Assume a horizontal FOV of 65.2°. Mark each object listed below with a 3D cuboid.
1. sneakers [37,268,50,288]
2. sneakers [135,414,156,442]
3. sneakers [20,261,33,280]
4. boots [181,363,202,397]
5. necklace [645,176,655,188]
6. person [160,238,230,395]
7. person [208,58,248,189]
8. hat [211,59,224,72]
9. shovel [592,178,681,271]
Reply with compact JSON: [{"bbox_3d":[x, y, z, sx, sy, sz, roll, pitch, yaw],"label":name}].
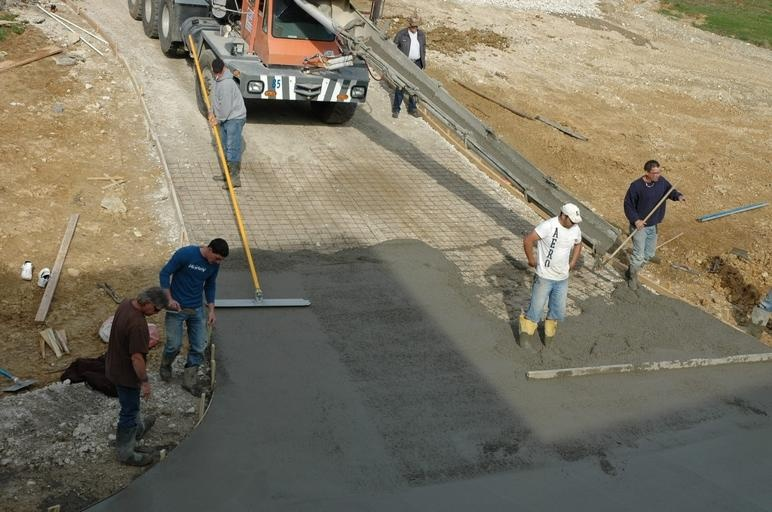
[{"bbox_3d":[-4.648,0.293,8.219,0.139,0.111,0.281,17,53,-28],"label":"sneakers"},{"bbox_3d":[-2.589,1.868,6.604,0.106,0.177,0.263,24,50,3],"label":"sneakers"},{"bbox_3d":[-4.902,0.209,8.265,0.121,0.122,0.329,1,27,-41],"label":"sneakers"},{"bbox_3d":[-2.247,1.480,7.145,0.367,0.323,0.164,13,10,30],"label":"boots"},{"bbox_3d":[4.009,-1.136,9.216,0.107,0.130,0.050,5,43,22],"label":"necklace"},{"bbox_3d":[-2.234,0.664,6.945,0.696,1.771,0.904,4,38,-14],"label":"person"},{"bbox_3d":[-2.602,-2.157,9.920,0.542,1.877,0.999,3,38,-16],"label":"person"},{"bbox_3d":[-2.675,-3.017,9.659,0.176,0.221,0.242,2,37,-16],"label":"hat"},{"bbox_3d":[3.796,-0.373,9.408,0.366,1.538,1.140,35,41,25],"label":"shovel"}]
